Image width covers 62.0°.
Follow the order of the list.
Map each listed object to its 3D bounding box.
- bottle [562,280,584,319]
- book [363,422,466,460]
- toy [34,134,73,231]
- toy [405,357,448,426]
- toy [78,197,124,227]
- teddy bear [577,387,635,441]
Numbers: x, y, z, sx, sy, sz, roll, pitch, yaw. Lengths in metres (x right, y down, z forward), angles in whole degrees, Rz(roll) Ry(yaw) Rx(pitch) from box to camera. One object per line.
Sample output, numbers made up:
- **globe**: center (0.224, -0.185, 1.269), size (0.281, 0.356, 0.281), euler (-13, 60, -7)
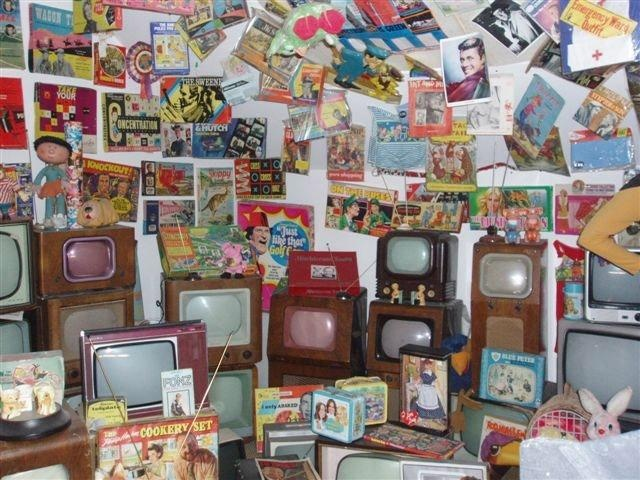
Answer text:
- **bottle**: center (1.337, 0.318, 2.768), size (0.096, 0.188, 0.123), euler (1, 1, 28)
- **book**: center (0.370, 0.845, 2.251), size (0.398, 0.049, 0.325), euler (0, 0, 33)
- **toy**: center (-1.606, -0.331, 3.075), size (0.188, 0.511, 0.450), euler (0, 1, -31)
- **toy**: center (0.458, 0.675, 2.376), size (0.209, 0.302, 0.058), euler (0, 1, 26)
- **toy**: center (-1.329, -0.154, 3.054), size (0.240, 0.171, 0.243), euler (-3, 6, -19)
- **teddy bear**: center (1.224, 0.726, 2.247), size (0.210, 0.203, 0.152), euler (0, 1, 20)
